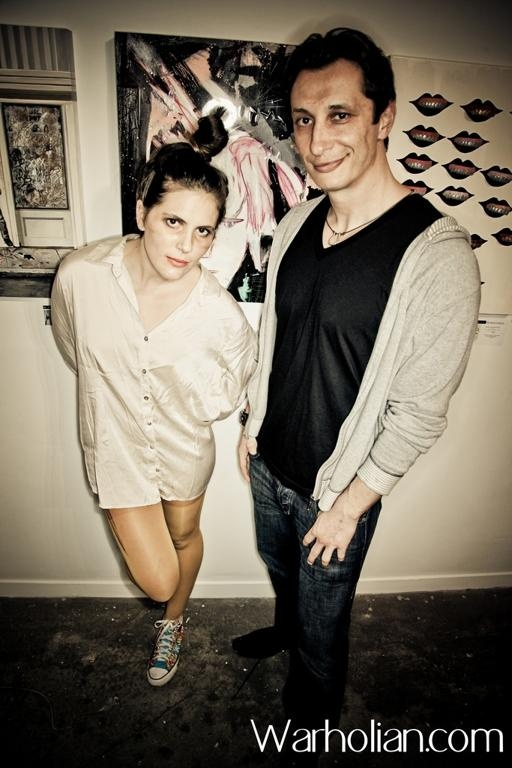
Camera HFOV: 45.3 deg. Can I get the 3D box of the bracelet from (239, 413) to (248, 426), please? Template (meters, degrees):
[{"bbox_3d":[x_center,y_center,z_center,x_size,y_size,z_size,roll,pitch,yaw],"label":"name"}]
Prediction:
[{"bbox_3d":[-0.043,0.128,2.135,0.021,0.051,0.024,-2,2,1],"label":"bracelet"}]

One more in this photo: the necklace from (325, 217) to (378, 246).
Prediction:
[{"bbox_3d":[0.242,-0.428,1.697,0.022,0.067,0.105,-39,20,4],"label":"necklace"}]

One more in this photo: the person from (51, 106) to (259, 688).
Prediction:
[{"bbox_3d":[-0.325,0.141,1.957,0.642,1.842,0.370,0,22,0],"label":"person"}]

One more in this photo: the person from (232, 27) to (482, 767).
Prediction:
[{"bbox_3d":[0.238,0.089,1.817,0.431,2.096,0.689,-11,25,-27],"label":"person"}]
